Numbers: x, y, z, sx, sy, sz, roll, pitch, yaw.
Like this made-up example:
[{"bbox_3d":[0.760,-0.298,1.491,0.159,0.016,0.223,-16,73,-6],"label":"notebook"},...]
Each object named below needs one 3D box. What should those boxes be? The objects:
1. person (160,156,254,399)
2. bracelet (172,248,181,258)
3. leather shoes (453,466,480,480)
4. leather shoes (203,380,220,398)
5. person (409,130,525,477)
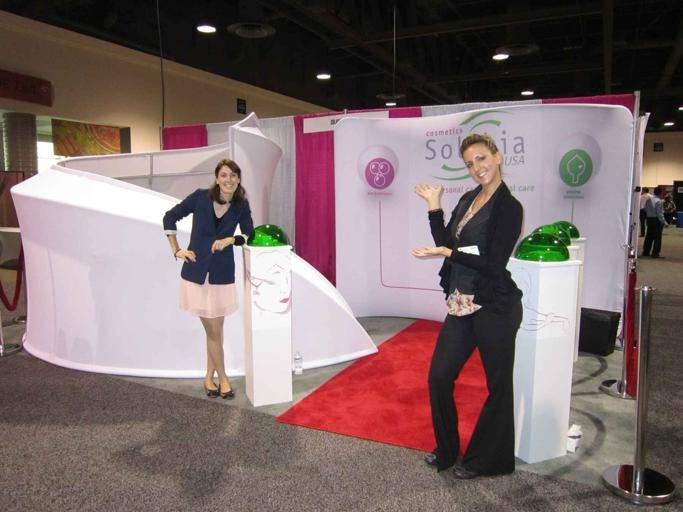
[{"bbox_3d":[-0.985,0.182,3.738,0.645,1.786,0.365,-4,12,-21],"label":"person"},{"bbox_3d":[-1.214,-0.024,3.613,0.059,0.054,0.055,-2,0,-32],"label":"bracelet"},{"bbox_3d":[0.736,1.255,2.876,0.136,0.069,0.064,-1,7,7],"label":"leather shoes"},{"bbox_3d":[-0.994,1.028,3.815,0.067,0.056,0.141,3,4,-32],"label":"leather shoes"},{"bbox_3d":[0.753,0.304,2.851,0.600,1.958,0.403,5,12,21],"label":"person"}]
